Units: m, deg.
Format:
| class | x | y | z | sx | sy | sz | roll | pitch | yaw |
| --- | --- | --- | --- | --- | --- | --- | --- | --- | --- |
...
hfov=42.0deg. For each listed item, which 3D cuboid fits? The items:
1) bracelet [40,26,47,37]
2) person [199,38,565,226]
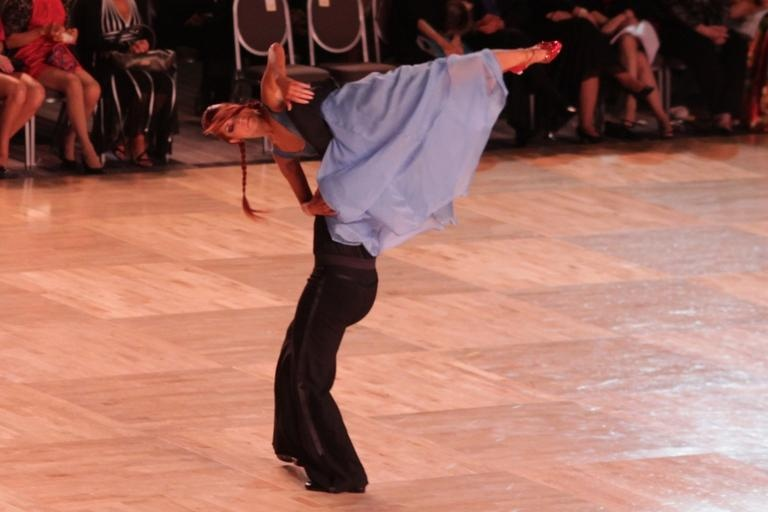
| class | x | y | z | sx | sy | sz | roll | pitch | yaw |
| --- | --- | --- | --- | --- | --- | --- | --- | --- | --- |
| bracelet | -2.853 | -1.904 | 8.422 | 0.068 | 0.059 | 0.021 | 4 | -8 | 2 |
| person | 0.025 | -0.743 | 6.222 | 2.683 | 1.258 | 0.824 | -10 | 35 | -20 |
